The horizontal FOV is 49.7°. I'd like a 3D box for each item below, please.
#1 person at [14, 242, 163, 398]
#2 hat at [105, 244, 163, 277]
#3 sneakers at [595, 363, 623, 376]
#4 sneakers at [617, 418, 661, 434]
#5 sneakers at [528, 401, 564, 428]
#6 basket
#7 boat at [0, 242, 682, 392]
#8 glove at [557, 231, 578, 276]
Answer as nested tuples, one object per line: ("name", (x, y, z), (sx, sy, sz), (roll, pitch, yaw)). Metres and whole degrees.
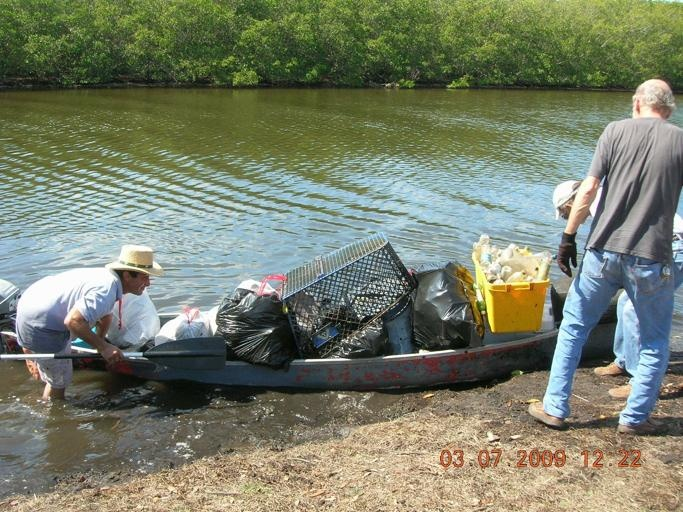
("person", (-2.721, 0.758, 7.898), (1.735, 1.957, 0.845), (7, 52, -29))
("hat", (-2.099, 0.054, 7.607), (0.542, 0.137, 0.395), (8, 2, -21))
("sneakers", (2.836, 1.209, 7.878), (0.315, 0.076, 0.117), (2, 3, 7))
("sneakers", (2.725, 1.568, 6.808), (0.462, 0.111, 0.117), (-2, 9, 0))
("sneakers", (1.859, 1.496, 6.947), (0.162, 0.118, 0.354), (3, 15, -29))
("basket", (0.056, 0.481, 8.020), (1.888, 0.876, 0.897), (-22, -3, -17))
("boat", (-1.040, 0.736, 8.040), (8.842, 1.195, 1.886), (-1, 21, 0))
("glove", (2.093, -0.024, 6.813), (0.167, 0.357, 0.345), (-5, 19, 29))
